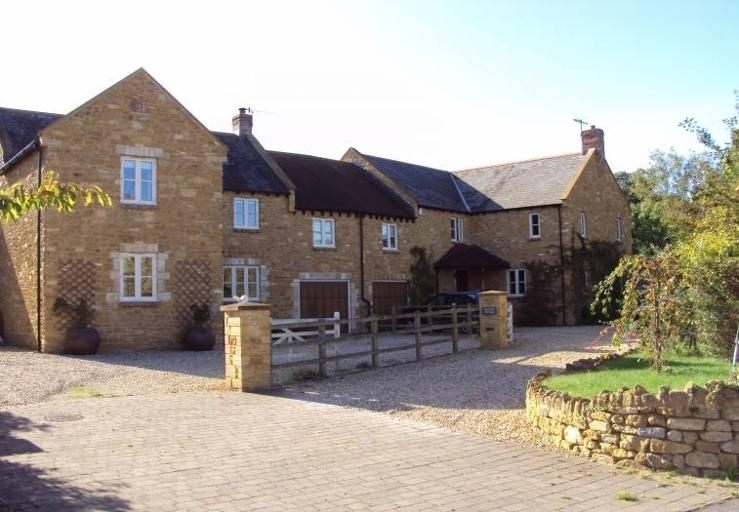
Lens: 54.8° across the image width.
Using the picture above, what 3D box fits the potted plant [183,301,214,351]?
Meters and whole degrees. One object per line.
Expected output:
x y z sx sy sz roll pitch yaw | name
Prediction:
-5.618 2.289 23.313 0.899 1.531 0.521 1 -4 -29 | potted plant

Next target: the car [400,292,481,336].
3.045 2.351 30.484 2.961 1.334 1.741 3 -4 9 | car

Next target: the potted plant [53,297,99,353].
-8.899 2.075 21.859 1.223 1.967 1.437 -1 14 -29 | potted plant
